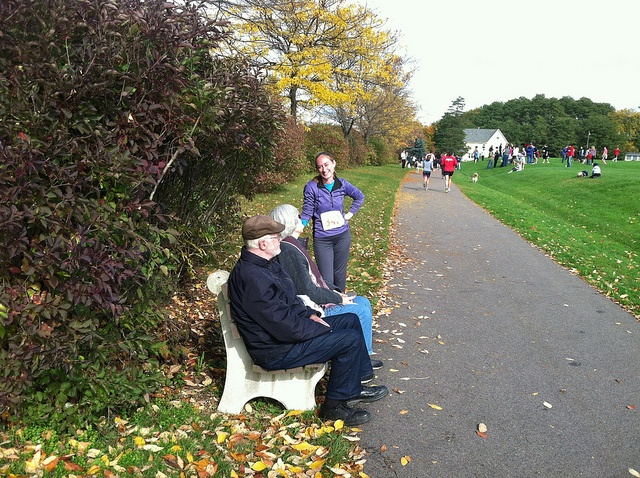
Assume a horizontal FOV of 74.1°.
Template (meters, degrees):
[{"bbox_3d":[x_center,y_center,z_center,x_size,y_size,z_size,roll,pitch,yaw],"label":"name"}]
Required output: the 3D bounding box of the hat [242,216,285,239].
[{"bbox_3d":[-0.583,-0.144,4.168,0.319,0.175,0.239,-11,17,-28],"label":"hat"}]

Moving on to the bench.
[{"bbox_3d":[-0.588,1.061,5.067,1.398,1.541,1.327,0,5,-2],"label":"bench"}]

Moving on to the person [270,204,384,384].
[{"bbox_3d":[0.090,0.686,5.142,1.249,2.353,0.827,9,27,17],"label":"person"}]

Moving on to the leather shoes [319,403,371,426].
[{"bbox_3d":[0.265,1.830,4.408,0.509,0.214,0.234,-1,8,-5],"label":"leather shoes"}]
